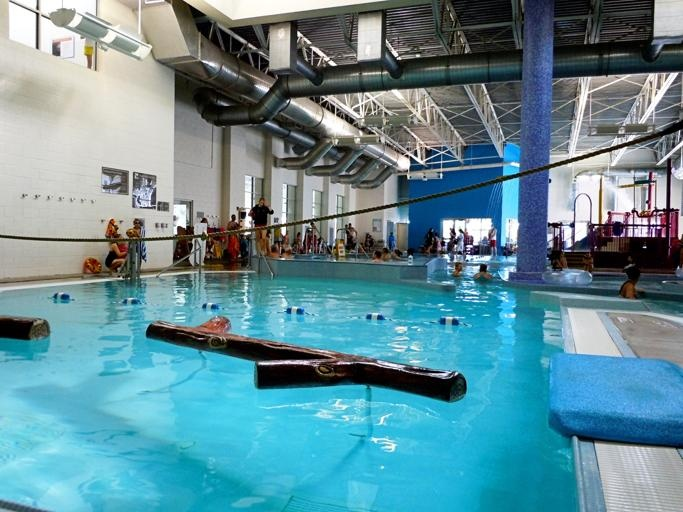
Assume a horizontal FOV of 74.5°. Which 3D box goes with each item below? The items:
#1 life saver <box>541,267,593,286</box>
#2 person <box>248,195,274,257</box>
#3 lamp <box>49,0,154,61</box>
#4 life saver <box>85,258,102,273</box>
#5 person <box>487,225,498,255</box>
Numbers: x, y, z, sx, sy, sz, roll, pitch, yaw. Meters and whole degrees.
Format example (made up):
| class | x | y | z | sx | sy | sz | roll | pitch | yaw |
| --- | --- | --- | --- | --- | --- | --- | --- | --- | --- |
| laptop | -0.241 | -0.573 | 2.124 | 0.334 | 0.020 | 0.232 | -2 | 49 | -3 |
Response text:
| class | x | y | z | sx | sy | sz | roll | pitch | yaw |
| --- | --- | --- | --- | --- | --- | --- | --- | --- | --- |
| life saver | 4.246 | 0.416 | 8.381 | 0.869 | 0.228 | 0.934 | 2 | 4 | 12 |
| person | -2.080 | -0.722 | 11.732 | 0.715 | 1.514 | 0.537 | -5 | 8 | -27 |
| lamp | -4.131 | -3.902 | 7.784 | 0.529 | 0.406 | 1.489 | 3 | 5 | 22 |
| life saver | -5.542 | 0.249 | 10.043 | 0.335 | 0.300 | 0.121 | 34 | -48 | -32 |
| person | 8.241 | -0.783 | 24.430 | 0.296 | 1.535 | 1.124 | 2 | 5 | 9 |
